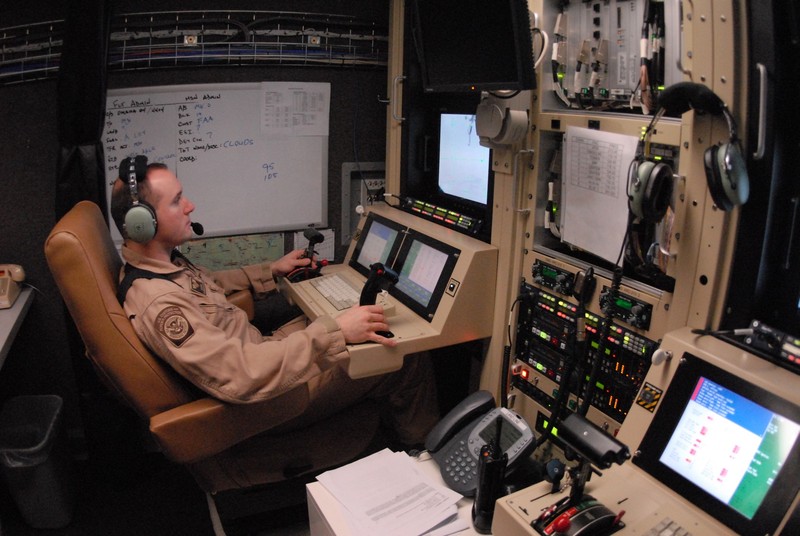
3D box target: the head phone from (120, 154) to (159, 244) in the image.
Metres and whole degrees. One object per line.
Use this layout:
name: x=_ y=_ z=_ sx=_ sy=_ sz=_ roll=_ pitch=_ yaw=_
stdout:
head phone: x=-1.192 y=-0.314 z=2.532 sx=0.142 sy=0.375 sz=0.384 roll=-9 pitch=13 yaw=-19

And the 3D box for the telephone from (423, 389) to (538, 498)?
telephone: x=0.325 y=0.676 z=2.266 sx=0.393 sy=0.349 sz=0.396 roll=-17 pitch=22 yaw=-33

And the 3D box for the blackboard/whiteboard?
blackboard/whiteboard: x=-1.116 y=-0.655 z=3.240 sx=0.927 sy=0.711 sz=0.037 roll=-8 pitch=13 yaw=-24

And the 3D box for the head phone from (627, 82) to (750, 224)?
head phone: x=1.048 y=-0.399 z=1.990 sx=0.213 sy=0.545 sz=0.465 roll=5 pitch=-10 yaw=-35

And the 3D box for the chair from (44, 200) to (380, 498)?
chair: x=-0.878 y=0.319 z=2.868 sx=1.389 sy=1.599 sz=1.138 roll=-19 pitch=31 yaw=-32

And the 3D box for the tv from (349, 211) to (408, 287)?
tv: x=-0.128 y=-0.095 z=3.161 sx=0.086 sy=0.358 sz=0.377 roll=13 pitch=2 yaw=-30

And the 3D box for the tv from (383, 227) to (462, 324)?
tv: x=0.113 y=-0.015 z=2.897 sx=0.531 sy=0.605 sz=0.108 roll=11 pitch=31 yaw=25
